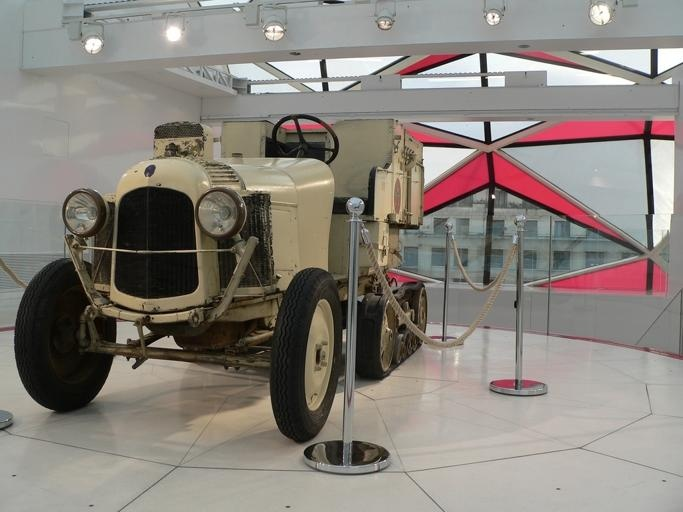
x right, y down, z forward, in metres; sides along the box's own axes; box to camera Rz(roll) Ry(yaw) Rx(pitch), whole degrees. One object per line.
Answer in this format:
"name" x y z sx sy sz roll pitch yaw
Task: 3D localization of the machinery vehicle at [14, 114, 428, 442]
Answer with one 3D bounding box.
"machinery vehicle" -0.752 -0.121 6.909 2.920 3.006 4.727 2 3 26
